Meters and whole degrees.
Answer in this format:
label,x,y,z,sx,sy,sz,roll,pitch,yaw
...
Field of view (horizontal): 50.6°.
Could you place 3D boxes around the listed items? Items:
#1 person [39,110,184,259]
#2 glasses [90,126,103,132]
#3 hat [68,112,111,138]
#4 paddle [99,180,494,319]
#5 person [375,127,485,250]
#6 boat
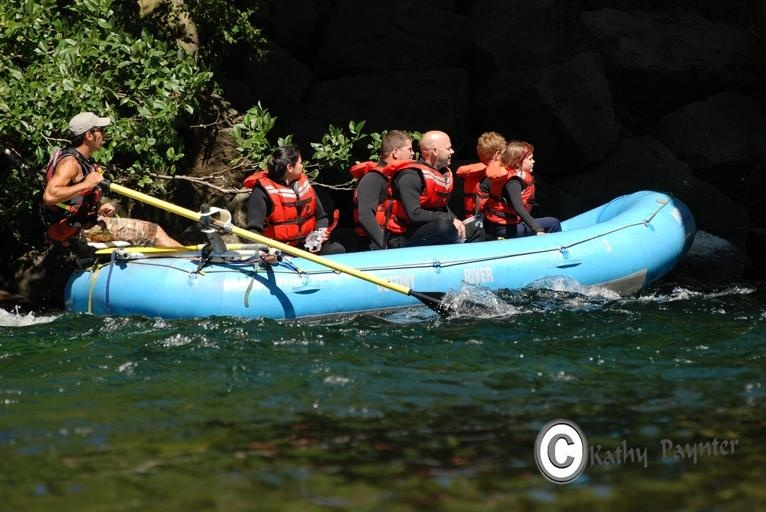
label,x,y,z,sx,sy,sz,roll,pitch,yaw
person,-2.081,-0.644,7.583,1.941,1.381,0.891,-5,21,-29
glasses,-2.616,-1.166,7.402,0.063,0.054,0.016,-1,-2,-24
hat,-2.695,-1.223,7.406,0.363,0.129,0.211,-13,31,-15
paddle,-0.789,-0.039,7.792,3.365,0.337,0.540,17,34,-13
person,0.497,-0.735,8.755,1.218,1.361,1.227,-1,7,9
boat,0.174,0.121,7.914,4.377,0.696,2.069,-2,6,-8
